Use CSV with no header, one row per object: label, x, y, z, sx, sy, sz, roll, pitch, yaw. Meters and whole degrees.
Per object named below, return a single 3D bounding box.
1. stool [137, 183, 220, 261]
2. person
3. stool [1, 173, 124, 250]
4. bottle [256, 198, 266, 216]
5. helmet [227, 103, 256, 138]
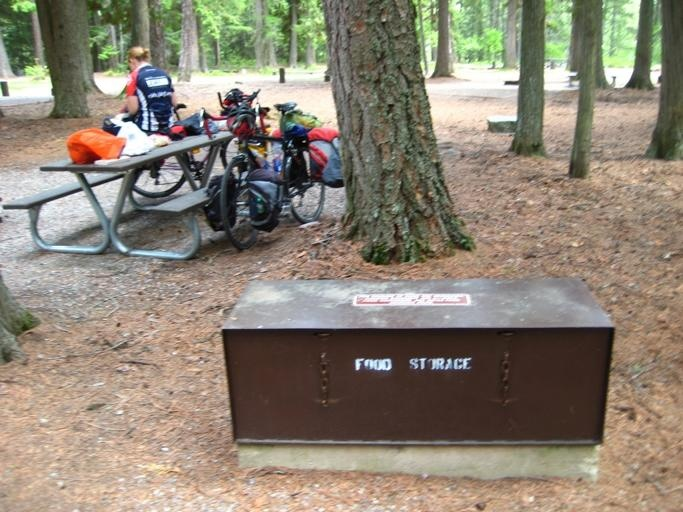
stool,-1.693,-0.475,6.717,1.058,0.513,1.197,0,23,0
person,-2.669,-2.275,8.370,0.623,1.157,0.617,-5,26,-6
stool,-3.635,-0.538,7.902,0.889,0.290,1.419,-9,13,-5
bottle,-0.878,-0.545,6.641,0.123,0.174,0.070,-4,27,-5
helmet,-1.114,-1.502,6.850,0.320,0.204,0.405,5,1,-4
